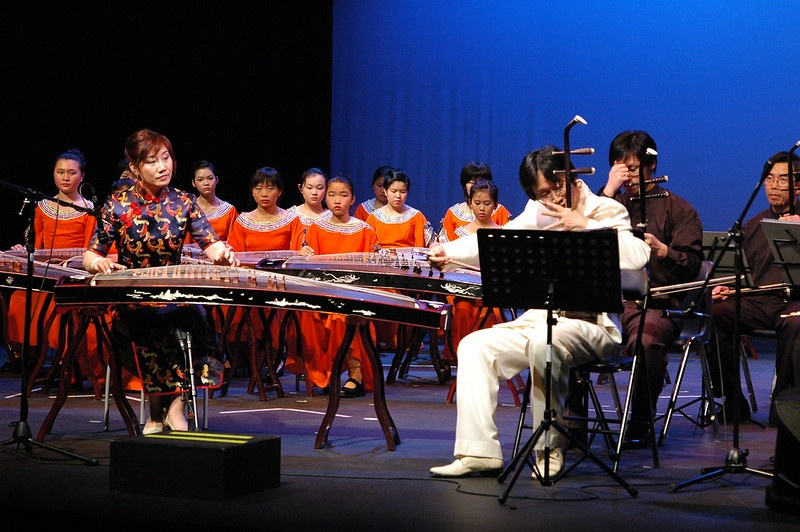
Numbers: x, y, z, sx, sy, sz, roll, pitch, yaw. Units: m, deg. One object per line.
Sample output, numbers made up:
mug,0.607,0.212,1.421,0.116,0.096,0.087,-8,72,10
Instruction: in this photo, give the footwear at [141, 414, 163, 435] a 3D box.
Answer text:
footwear,-1.638,1.064,5.607,0.150,0.153,0.235,1,-20,-17

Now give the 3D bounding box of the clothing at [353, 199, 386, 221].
clothing,-0.370,-0.640,9.736,0.388,0.179,0.256,-3,3,0

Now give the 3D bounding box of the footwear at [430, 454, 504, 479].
footwear,0.392,1.173,5.029,0.468,0.171,0.150,2,-5,0

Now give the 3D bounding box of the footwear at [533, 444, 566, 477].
footwear,0.853,1.147,4.991,0.175,0.171,0.402,-1,-1,17

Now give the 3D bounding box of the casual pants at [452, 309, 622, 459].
casual pants,0.800,0.695,5.110,0.923,0.851,0.456,0,-1,6
